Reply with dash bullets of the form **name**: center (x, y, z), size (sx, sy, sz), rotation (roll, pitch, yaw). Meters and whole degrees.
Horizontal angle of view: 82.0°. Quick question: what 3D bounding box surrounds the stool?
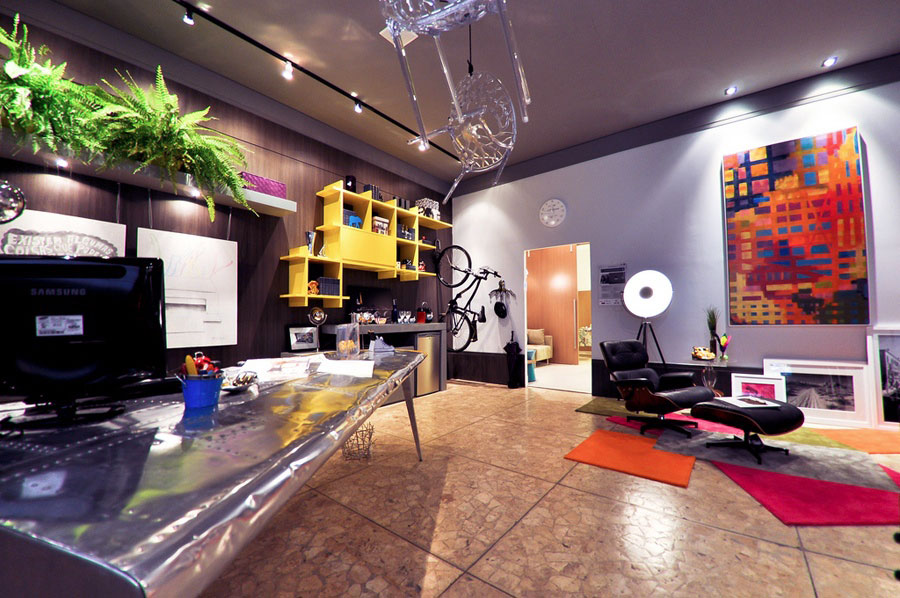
- **stool**: center (2.898, 1.253, 5.089), size (0.936, 0.538, 0.755), rotation (1, 1, -31)

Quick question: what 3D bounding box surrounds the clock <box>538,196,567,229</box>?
- **clock**: center (1.511, -1.277, 7.663), size (0.386, 0.402, 0.091), rotation (21, 11, 35)

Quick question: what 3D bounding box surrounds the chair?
- **chair**: center (2.310, 0.935, 5.747), size (0.914, 0.913, 1.083), rotation (-2, -2, -40)

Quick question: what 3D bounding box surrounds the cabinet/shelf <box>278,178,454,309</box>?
- **cabinet/shelf**: center (-0.930, -0.598, 7.102), size (0.389, 1.579, 2.753), rotation (0, -4, 39)

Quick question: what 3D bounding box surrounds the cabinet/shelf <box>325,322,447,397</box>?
- **cabinet/shelf**: center (-0.847, 0.796, 7.179), size (1.659, 1.109, 0.594), rotation (-3, 10, -18)

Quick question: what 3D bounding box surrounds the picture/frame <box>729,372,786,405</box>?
- **picture/frame**: center (3.442, 0.998, 5.767), size (0.298, 0.313, 0.016), rotation (2, -12, 34)

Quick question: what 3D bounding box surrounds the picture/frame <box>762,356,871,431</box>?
- **picture/frame**: center (3.980, 1.027, 5.563), size (0.758, 0.658, 0.064), rotation (0, -3, 37)

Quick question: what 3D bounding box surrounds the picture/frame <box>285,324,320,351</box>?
- **picture/frame**: center (-1.767, 0.459, 6.159), size (0.310, 0.228, 0.041), rotation (3, -15, -38)
